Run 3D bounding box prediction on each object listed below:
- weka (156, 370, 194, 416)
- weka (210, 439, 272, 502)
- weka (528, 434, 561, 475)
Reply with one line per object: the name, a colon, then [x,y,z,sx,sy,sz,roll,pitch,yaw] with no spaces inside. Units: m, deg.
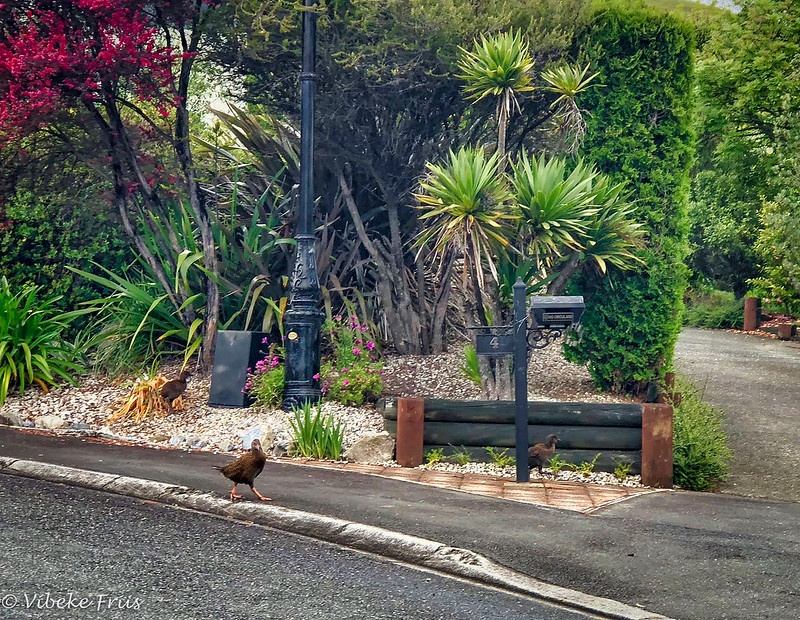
weka: [-3.254,1.133,10.305,0.458,0.601,0.261,5,32,-1]
weka: [-1.444,1.470,6.558,0.539,0.566,0.239,2,-4,13]
weka: [1.623,1.659,8.207,0.467,0.400,0.218,3,-4,-12]
